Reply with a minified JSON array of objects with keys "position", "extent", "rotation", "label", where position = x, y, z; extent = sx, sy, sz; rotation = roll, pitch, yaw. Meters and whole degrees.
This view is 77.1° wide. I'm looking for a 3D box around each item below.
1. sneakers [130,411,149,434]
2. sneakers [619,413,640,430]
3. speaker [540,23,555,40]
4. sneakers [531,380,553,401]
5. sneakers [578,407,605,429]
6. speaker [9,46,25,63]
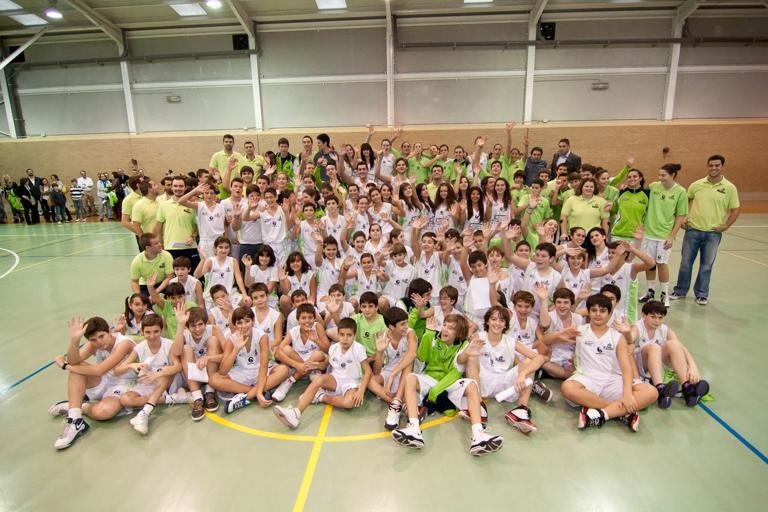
[{"position":[-3.844,2.616,7.581],"extent":[0.264,0.294,0.335],"rotation":[-10,17,-29],"label":"sneakers"},{"position":[3.800,2.558,7.445],"extent":[0.176,0.153,0.412],"rotation":[-6,3,12],"label":"sneakers"},{"position":[6.040,-8.294,17.964],"extent":[0.546,0.617,0.210],"rotation":[-1,8,-1],"label":"speaker"},{"position":[2.596,2.243,8.011],"extent":[0.171,0.164,0.449],"rotation":[6,5,-11],"label":"sneakers"},{"position":[3.201,2.527,7.426],"extent":[0.250,0.215,0.547],"rotation":[0,11,9],"label":"sneakers"},{"position":[-15.409,-8.371,20.183],"extent":[0.871,0.718,0.316],"rotation":[5,16,24],"label":"speaker"}]
